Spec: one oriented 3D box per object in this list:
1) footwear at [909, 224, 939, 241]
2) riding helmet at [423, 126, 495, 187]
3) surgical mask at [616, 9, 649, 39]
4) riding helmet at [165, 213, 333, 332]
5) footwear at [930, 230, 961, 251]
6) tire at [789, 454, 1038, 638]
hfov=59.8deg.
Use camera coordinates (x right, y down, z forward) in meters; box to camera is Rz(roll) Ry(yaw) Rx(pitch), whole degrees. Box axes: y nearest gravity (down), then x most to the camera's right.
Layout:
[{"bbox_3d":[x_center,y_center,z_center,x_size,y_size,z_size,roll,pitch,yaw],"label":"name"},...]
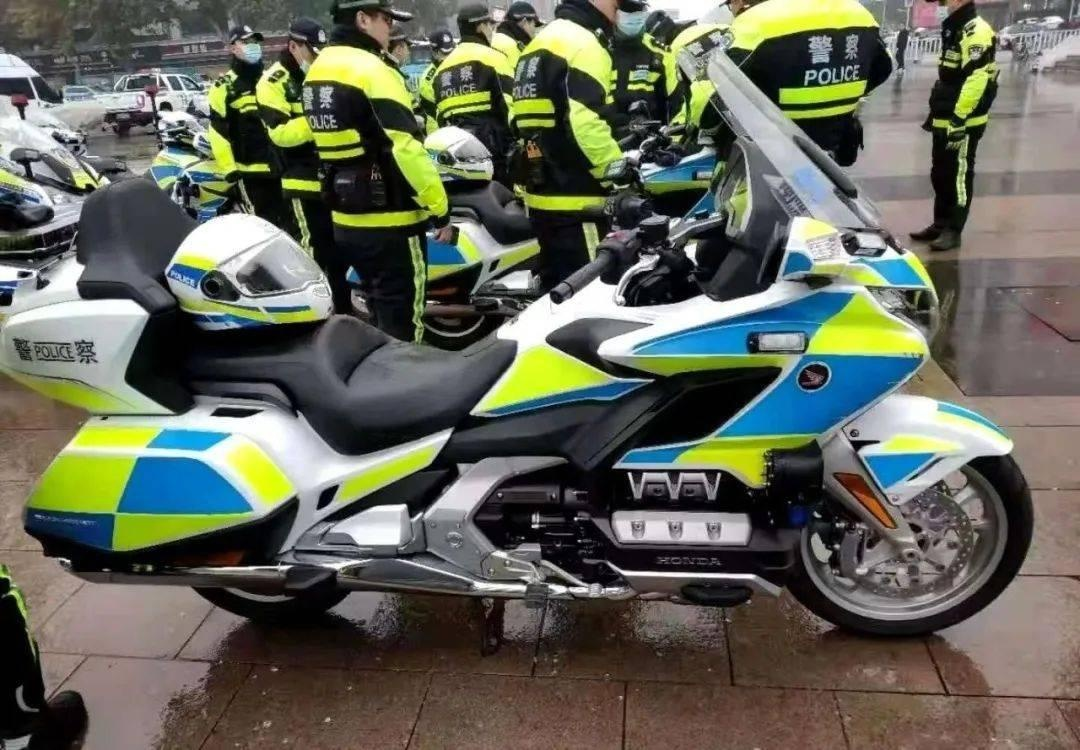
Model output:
[{"bbox_3d":[3.742,-1.357,9.036,0.318,0.127,0.107,8,25,35],"label":"footwear"},{"bbox_3d":[-0.583,-1.626,7.056,0.530,0.315,0.340,-1,44,-11],"label":"riding helmet"},{"bbox_3d":[0.710,-2.718,7.260,0.250,0.171,0.258,-1,57,-1],"label":"surgical mask"},{"bbox_3d":[-1.277,-0.476,4.140,0.750,0.422,0.547,3,25,7],"label":"riding helmet"},{"bbox_3d":[3.750,-1.248,8.711,0.390,0.164,0.131,-13,38,-25],"label":"footwear"},{"bbox_3d":[1.619,0.697,4.132,1.070,1.034,0.202,-4,26,6],"label":"tire"}]
